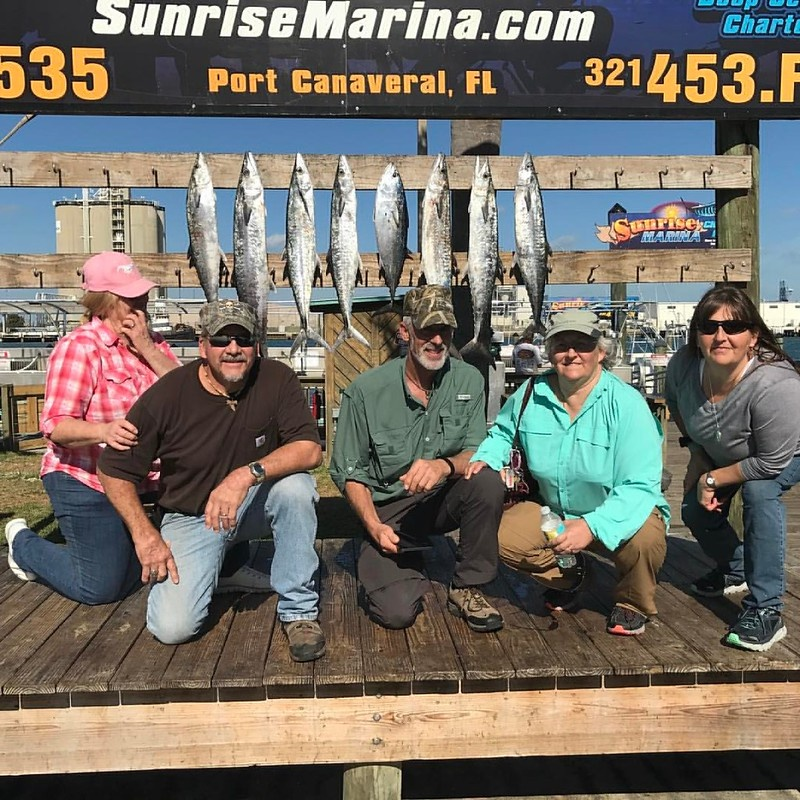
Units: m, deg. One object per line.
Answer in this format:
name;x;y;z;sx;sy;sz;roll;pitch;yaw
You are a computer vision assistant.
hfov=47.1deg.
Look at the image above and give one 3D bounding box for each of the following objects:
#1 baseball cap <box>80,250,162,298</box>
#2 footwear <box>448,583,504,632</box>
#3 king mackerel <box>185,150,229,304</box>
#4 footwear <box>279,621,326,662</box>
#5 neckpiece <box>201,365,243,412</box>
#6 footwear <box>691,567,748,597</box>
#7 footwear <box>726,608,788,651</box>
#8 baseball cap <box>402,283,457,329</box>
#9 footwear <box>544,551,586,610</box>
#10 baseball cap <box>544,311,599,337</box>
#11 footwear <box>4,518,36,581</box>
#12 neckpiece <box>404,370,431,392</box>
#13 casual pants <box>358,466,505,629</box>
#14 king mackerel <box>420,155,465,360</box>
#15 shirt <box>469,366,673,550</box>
baseball cap;-1.354;-0.618;4.446;0.336;0.156;0.207;-2;12;-1
footwear;0.349;0.928;4.144;0.120;0.119;0.280;-13;15;-31
king mackerel;-1.114;-0.980;5.202;0.165;0.804;0.196;-10;15;-40
footwear;-0.401;0.997;3.844;0.147;0.106;0.229;-3;11;-14
neckpiece;-0.811;-0.049;4.056;0.167;0.196;0.051;-14;5;-21
footwear;1.630;0.902;4.559;0.333;0.136;0.118;0;-1;-6
footwear;1.503;0.965;3.859;0.317;0.135;0.117;2;-5;-34
baseball cap;0.144;-0.425;4.174;0.215;0.149;0.319;0;6;-7
footwear;0.799;0.846;4.285;0.106;0.256;0.207;16;-10;-32
baseball cap;0.770;-0.332;4.060;0.240;0.126;0.191;2;11;10
footwear;-1.895;0.750;4.549;0.118;0.301;0.139;-13;-5;1
neckpiece;0.083;-0.081;4.335;0.091;0.039;0.112;16;-22;2
casual pants;0.174;0.692;4.391;0.774;0.866;0.718;0;-11;-12
king mackerel;0.224;-0.838;5.393;0.307;1.115;0.245;5;-8;-36
shirt;0.771;0.256;4.159;0.799;0.770;0.485;8;14;37
